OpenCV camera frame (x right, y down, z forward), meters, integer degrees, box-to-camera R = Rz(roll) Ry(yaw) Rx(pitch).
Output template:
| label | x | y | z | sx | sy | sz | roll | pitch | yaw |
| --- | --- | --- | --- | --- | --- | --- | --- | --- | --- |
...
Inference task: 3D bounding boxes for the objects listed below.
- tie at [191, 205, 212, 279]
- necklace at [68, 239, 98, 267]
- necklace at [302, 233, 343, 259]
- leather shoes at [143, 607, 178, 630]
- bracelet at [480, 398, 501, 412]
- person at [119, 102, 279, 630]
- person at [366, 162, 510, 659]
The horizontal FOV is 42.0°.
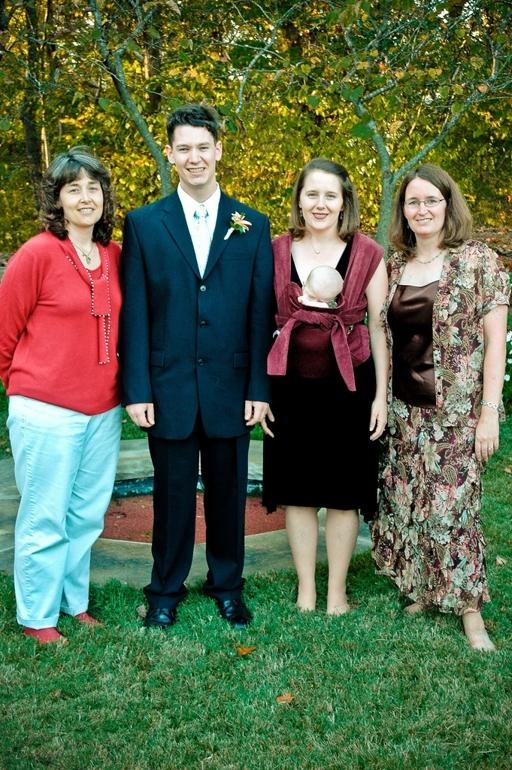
| label | x | y | z | sx | sy | sz | roll | pitch | yaw |
| --- | --- | --- | --- | --- | --- | --- | --- | --- | --- |
| tie | -0.217 | -0.578 | 2.689 | 0.076 | 0.288 | 0.088 | 0 | 7 | -6 |
| necklace | -0.669 | -0.503 | 2.610 | 0.025 | 0.103 | 0.077 | -32 | -9 | 39 |
| necklace | 0.289 | -0.562 | 2.802 | 0.177 | 0.100 | 0.053 | 8 | -8 | 8 |
| leather shoes | -0.397 | 0.976 | 2.777 | 0.117 | 0.075 | 0.061 | 2 | -1 | -1 |
| bracelet | 0.927 | 0.084 | 2.627 | 0.054 | 0.017 | 0.055 | 17 | 2 | 39 |
| person | -0.248 | -0.054 | 2.772 | 0.635 | 2.096 | 0.344 | 0 | 7 | 0 |
| person | 0.762 | 0.064 | 2.741 | 0.223 | 1.893 | 0.613 | -6 | 9 | -43 |
